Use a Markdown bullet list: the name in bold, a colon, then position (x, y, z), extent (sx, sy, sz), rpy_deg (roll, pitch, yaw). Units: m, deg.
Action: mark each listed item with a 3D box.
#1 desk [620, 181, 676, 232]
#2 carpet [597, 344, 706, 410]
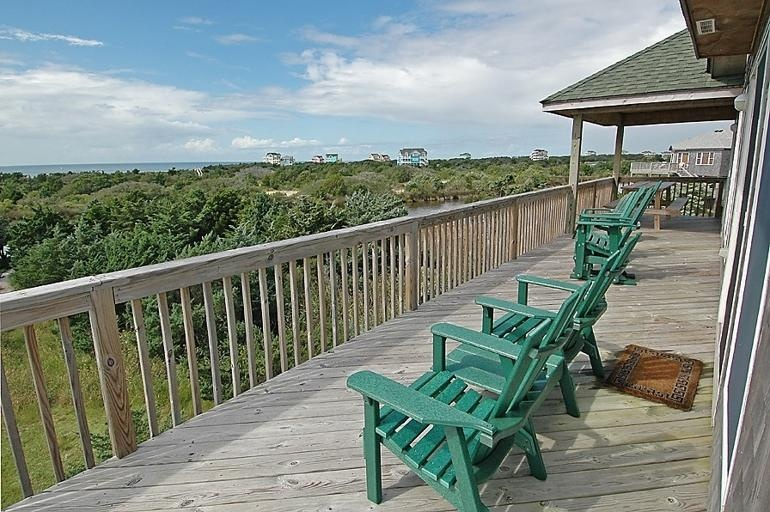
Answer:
- **desk**: position (5.233, -0.956, 9.516), extent (1.283, 0.769, 1.834), rpy_deg (6, 19, 38)
- **carpet**: position (2.471, 1.093, 4.354), extent (0.521, 0.021, 0.590), rpy_deg (11, 28, 39)
